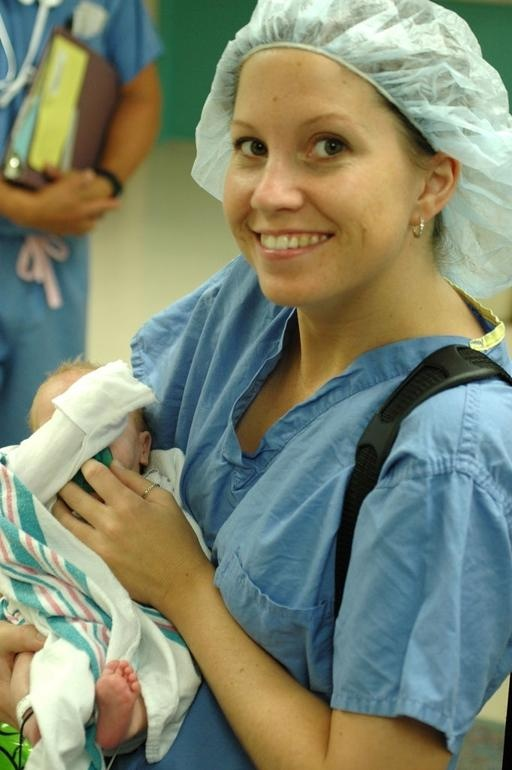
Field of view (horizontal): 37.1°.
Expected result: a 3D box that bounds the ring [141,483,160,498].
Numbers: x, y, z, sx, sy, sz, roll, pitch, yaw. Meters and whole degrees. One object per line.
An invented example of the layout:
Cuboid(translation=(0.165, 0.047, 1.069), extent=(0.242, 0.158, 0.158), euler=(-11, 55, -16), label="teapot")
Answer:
Cuboid(translation=(-0.170, 0.169, 1.228), extent=(0.022, 0.007, 0.022), euler=(-40, 5, 5), label="ring")
